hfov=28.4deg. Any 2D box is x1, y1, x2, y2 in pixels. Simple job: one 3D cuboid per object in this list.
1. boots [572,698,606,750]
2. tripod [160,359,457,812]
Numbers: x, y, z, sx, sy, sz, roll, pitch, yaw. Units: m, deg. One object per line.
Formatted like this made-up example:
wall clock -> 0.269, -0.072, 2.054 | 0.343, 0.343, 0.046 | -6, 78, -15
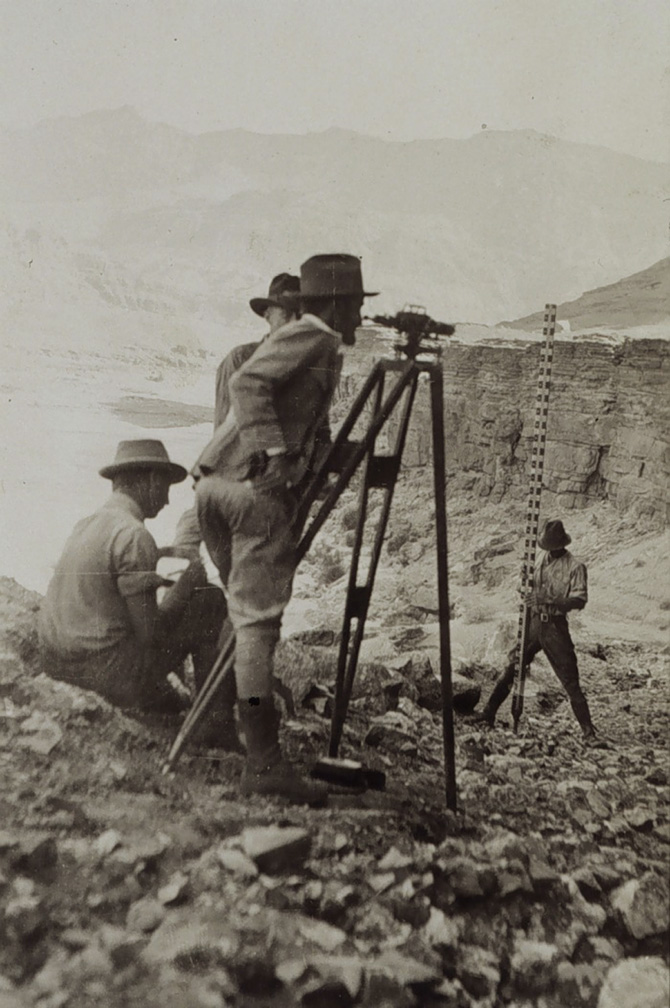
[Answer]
boots -> 0.955, 0.837, 4.980 | 0.056, 0.218, 0.097 | -29, 4, 29
tripod -> 0.190, 0.257, 4.961 | 0.707, 1.689, 0.280 | 6, 9, -2
